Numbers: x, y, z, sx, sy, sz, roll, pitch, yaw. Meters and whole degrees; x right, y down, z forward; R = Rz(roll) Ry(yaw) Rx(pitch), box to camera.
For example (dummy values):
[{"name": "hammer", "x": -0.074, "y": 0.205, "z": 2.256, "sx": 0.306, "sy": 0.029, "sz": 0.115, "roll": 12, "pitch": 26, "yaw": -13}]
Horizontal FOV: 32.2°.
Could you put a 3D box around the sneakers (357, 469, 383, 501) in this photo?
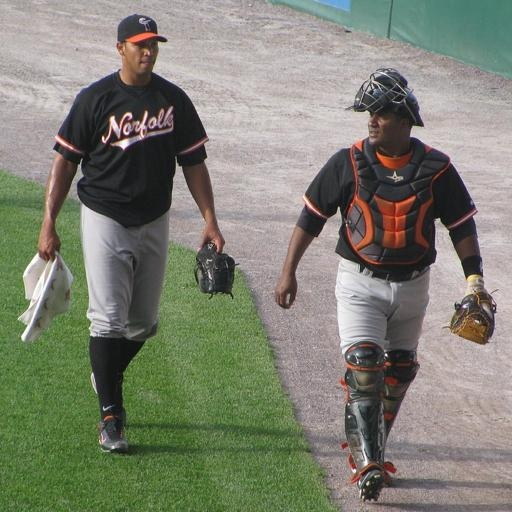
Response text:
[{"name": "sneakers", "x": 0.550, "y": 1.106, "z": 4.313, "sx": 0.103, "sy": 0.160, "sz": 0.099, "roll": 18, "pitch": 27, "yaw": -13}]

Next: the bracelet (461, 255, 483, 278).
[{"name": "bracelet", "x": 1.123, "y": 0.053, "z": 4.687, "sx": 0.136, "sy": 0.109, "sz": 0.109, "roll": 3, "pitch": -12, "yaw": -3}]

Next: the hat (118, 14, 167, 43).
[{"name": "hat", "x": -0.621, "y": -1.252, "z": 4.844, "sx": 0.181, "sy": 0.119, "sz": 0.265, "roll": -1, "pitch": 2, "yaw": -36}]

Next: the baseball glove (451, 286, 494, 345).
[{"name": "baseball glove", "x": 1.104, "y": 0.305, "z": 4.518, "sx": 0.216, "sy": 0.246, "sz": 0.200, "roll": 15, "pitch": 23, "yaw": 10}]

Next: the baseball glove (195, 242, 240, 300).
[{"name": "baseball glove", "x": -0.169, "y": 0.082, "z": 5.086, "sx": 0.244, "sy": 0.292, "sz": 0.150, "roll": -12, "pitch": 4, "yaw": 42}]

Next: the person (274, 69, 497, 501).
[{"name": "person", "x": 0.713, "y": 0.063, "z": 4.568, "sx": 0.849, "sy": 1.894, "sz": 1.125, "roll": -5, "pitch": 28, "yaw": -34}]

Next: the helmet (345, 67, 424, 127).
[{"name": "helmet", "x": 0.716, "y": -0.825, "z": 4.632, "sx": 0.389, "sy": 0.213, "sz": 0.274, "roll": 10, "pitch": -6, "yaw": -22}]

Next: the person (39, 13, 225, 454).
[{"name": "person", "x": -0.724, "y": -0.181, "z": 4.874, "sx": 0.927, "sy": 2.165, "sz": 1.088, "roll": 14, "pitch": 23, "yaw": 6}]
